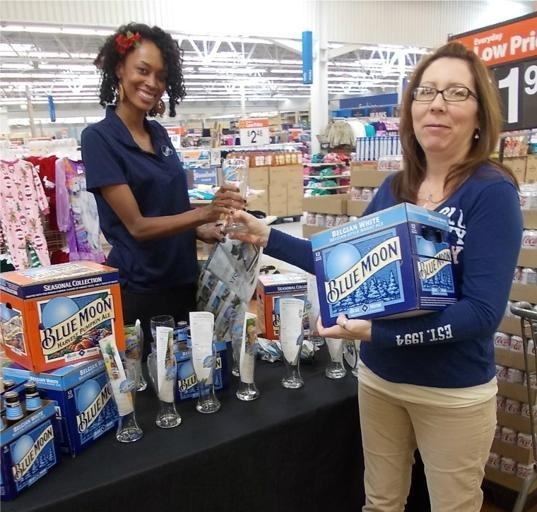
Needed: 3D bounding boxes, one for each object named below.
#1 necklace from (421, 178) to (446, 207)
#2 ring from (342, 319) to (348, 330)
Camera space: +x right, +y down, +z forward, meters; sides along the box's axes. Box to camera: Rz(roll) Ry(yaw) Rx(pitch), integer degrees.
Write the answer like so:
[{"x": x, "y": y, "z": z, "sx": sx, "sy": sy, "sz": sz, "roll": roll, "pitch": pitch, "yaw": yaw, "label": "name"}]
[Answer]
[{"x": 0.465, "y": -0.176, "z": 1.226, "sx": 0.036, "sy": 0.079, "sz": 0.061, "roll": 3, "pitch": 4, "yaw": -36, "label": "necklace"}, {"x": 0.186, "y": 0.165, "z": 1.055, "sx": 0.016, "sy": 0.018, "sz": 0.014, "roll": 8, "pitch": 56, "yaw": 9, "label": "ring"}]
